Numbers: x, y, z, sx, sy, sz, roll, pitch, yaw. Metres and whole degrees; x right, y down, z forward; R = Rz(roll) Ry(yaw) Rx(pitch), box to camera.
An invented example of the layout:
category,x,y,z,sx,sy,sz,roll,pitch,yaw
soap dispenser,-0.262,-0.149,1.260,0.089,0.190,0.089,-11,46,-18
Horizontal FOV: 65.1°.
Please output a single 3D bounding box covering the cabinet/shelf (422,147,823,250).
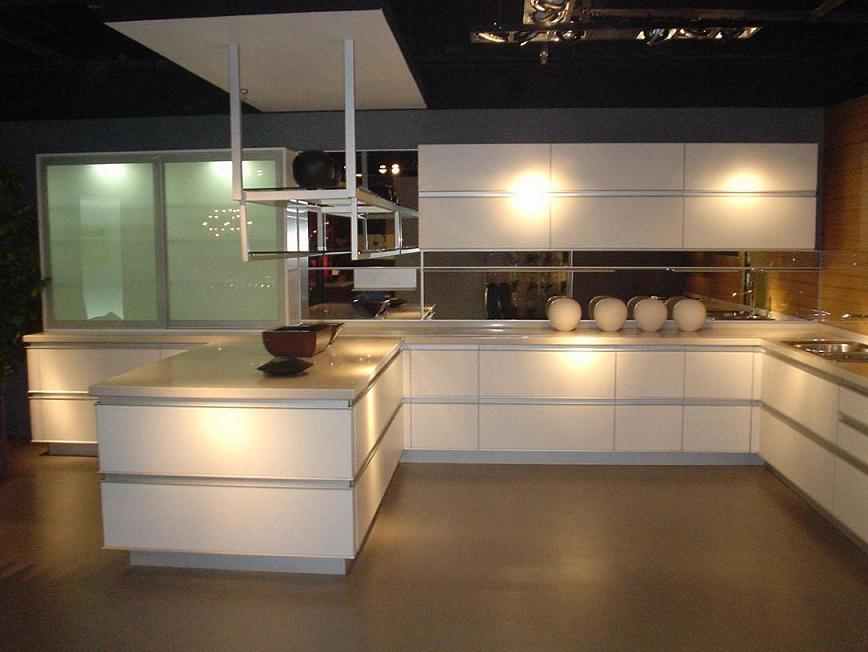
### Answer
category,x,y,z,sx,sy,sz,roll,pitch,yaw
cabinet/shelf,1.468,-1.025,5.681,3.165,0.957,0.352,1,-5,4
